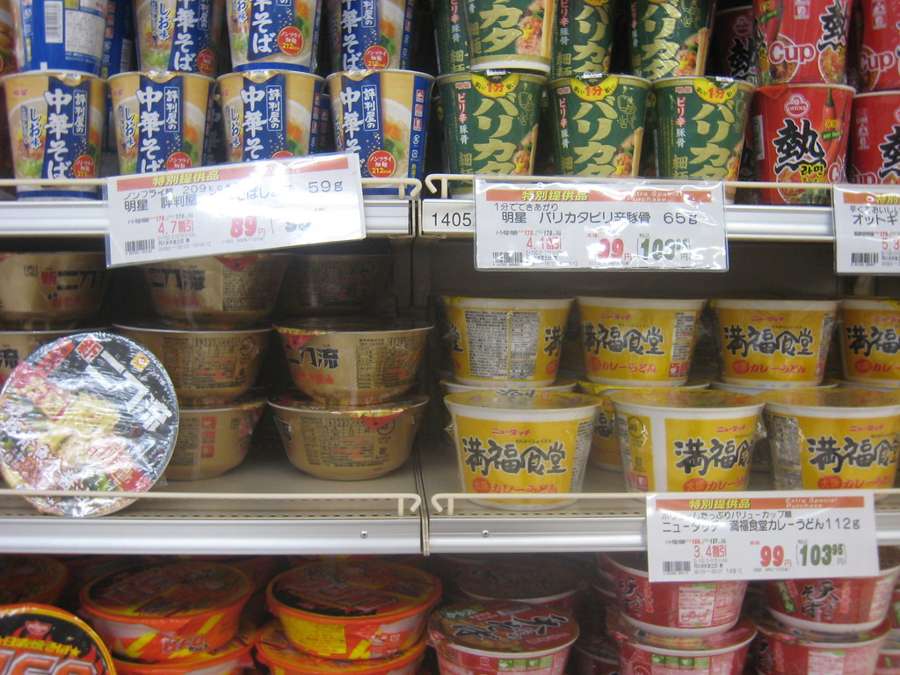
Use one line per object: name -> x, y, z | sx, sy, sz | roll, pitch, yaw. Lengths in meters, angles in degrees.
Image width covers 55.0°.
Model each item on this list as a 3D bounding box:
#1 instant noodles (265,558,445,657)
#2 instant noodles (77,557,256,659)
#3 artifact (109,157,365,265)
instant noodles -> -0.188, 0.535, 1.704 | 0.262, 0.048, 0.229 | -1, 5, -24
instant noodles -> -0.575, 0.492, 1.743 | 0.280, 0.129, 0.274 | 10, 17, 34
artifact -> -0.368, -0.216, 1.467 | 0.443, 0.173, 0.071 | -1, 15, 3
